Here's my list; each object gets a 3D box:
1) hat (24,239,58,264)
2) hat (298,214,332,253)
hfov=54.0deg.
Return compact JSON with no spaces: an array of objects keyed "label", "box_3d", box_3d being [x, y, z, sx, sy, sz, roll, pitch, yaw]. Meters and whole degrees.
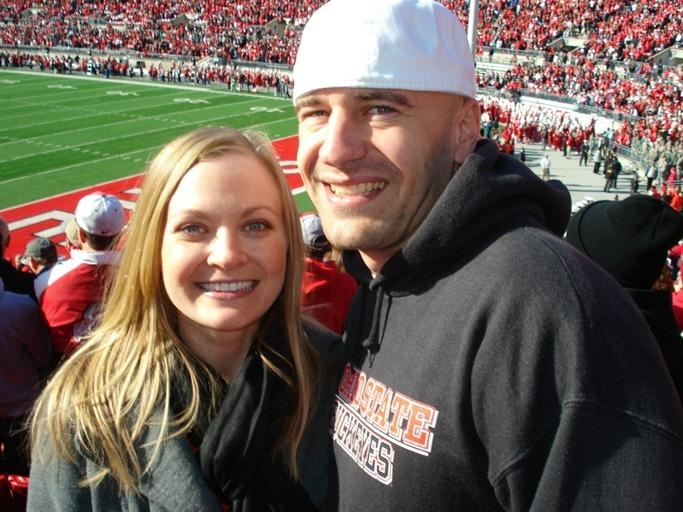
[{"label":"hat","box_3d":[-2.848,-0.073,6.356,0.318,0.247,0.252,11,10,29]},{"label":"hat","box_3d":[-0.215,-0.163,4.927,0.185,0.311,0.267,-4,4,-19]}]
